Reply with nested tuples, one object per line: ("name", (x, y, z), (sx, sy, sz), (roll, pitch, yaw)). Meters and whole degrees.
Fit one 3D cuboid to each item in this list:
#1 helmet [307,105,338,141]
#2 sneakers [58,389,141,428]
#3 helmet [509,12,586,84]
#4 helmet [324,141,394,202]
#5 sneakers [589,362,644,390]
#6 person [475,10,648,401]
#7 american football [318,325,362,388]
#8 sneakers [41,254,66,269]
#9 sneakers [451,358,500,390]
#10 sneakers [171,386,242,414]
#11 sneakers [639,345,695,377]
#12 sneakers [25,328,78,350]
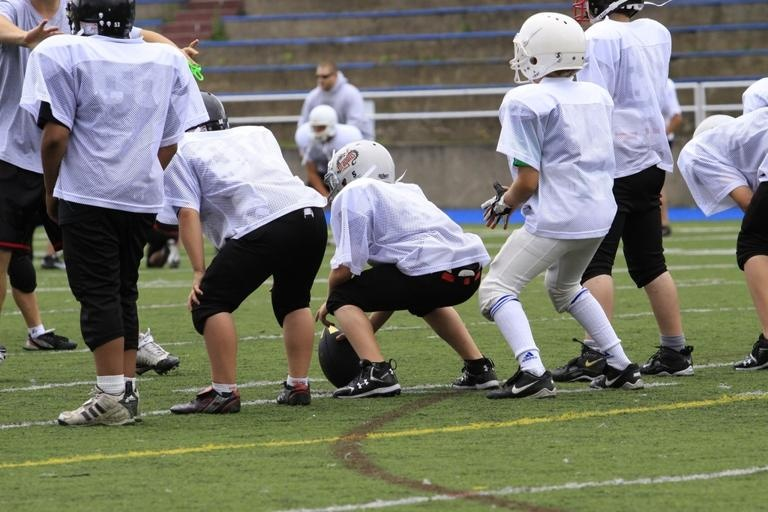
("helmet", (-0.729, -1.601, 13.321), (0.333, 0.368, 0.427), (0, 12, 12))
("sneakers", (-1.538, 0.846, 6.149), (0.477, 0.200, 0.165), (1, -3, -5))
("helmet", (0.955, -1.263, 6.653), (0.496, 0.377, 0.371), (7, 14, 30))
("helmet", (-0.148, -0.555, 6.928), (0.428, 0.318, 0.320), (2, 6, 20))
("sneakers", (1.399, 0.733, 6.705), (0.332, 0.142, 0.122), (0, 0, 36))
("person", (0.982, -0.303, 6.519), (0.940, 2.267, 0.465), (-5, 4, -2))
("american football", (-0.283, 0.625, 6.840), (0.223, 0.355, 0.255), (-35, -16, 12))
("sneakers", (-3.599, 0.067, 12.062), (0.169, 0.093, 0.266), (-2, -2, -4))
("sneakers", (0.575, 0.730, 6.784), (0.389, 0.168, 0.130), (1, -2, 2))
("sneakers", (-1.003, 0.824, 6.338), (0.386, 0.153, 0.155), (1, -7, 2))
("sneakers", (1.715, 0.675, 6.975), (0.425, 0.187, 0.154), (-2, -4, 35))
("sneakers", (-2.373, 0.599, 7.976), (0.404, 0.167, 0.140), (1, 2, -9))
